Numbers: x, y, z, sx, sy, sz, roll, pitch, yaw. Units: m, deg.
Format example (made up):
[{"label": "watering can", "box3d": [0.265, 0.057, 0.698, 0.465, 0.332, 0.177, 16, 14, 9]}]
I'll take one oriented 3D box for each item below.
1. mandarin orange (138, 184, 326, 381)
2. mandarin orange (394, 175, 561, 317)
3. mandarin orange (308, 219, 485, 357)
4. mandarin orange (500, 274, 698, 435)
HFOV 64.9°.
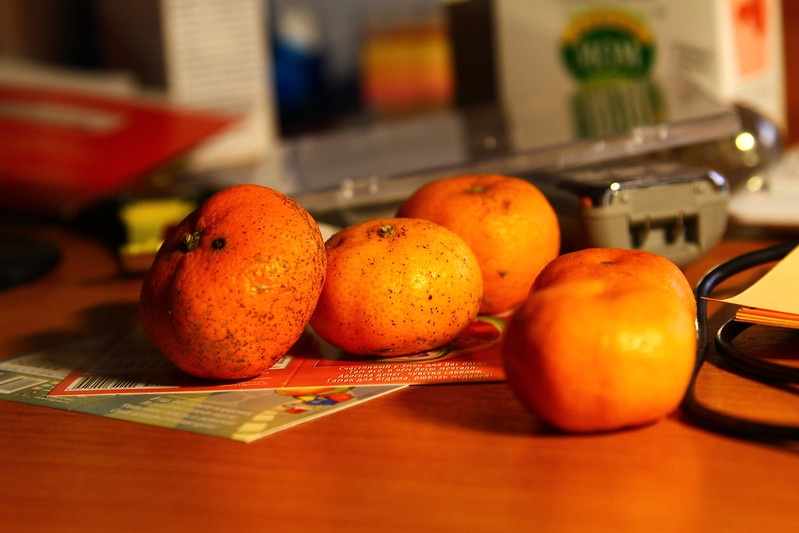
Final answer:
[{"label": "mandarin orange", "box3d": [-0.131, 0.014, 0.506, 0.143, 0.145, 0.082, -12, 20, -20]}, {"label": "mandarin orange", "box3d": [0.078, -0.025, 0.640, 0.151, 0.097, 0.137, -5, 7, -11]}, {"label": "mandarin orange", "box3d": [-0.007, 0.008, 0.559, 0.127, 0.084, 0.128, 9, 15, 38]}, {"label": "mandarin orange", "box3d": [0.136, 0.058, 0.457, 0.147, 0.093, 0.132, 3, 10, 24]}]
